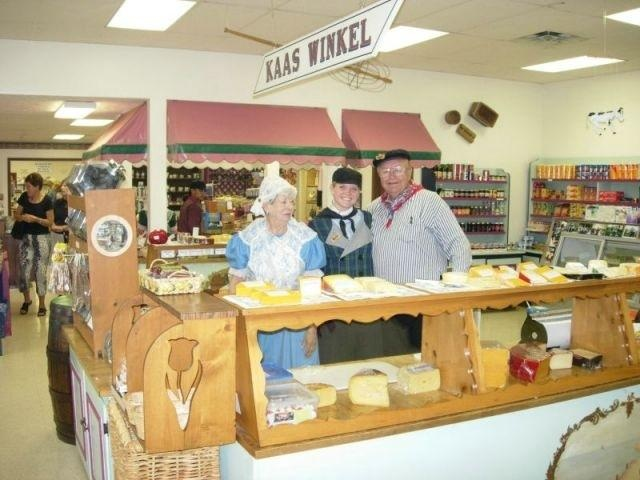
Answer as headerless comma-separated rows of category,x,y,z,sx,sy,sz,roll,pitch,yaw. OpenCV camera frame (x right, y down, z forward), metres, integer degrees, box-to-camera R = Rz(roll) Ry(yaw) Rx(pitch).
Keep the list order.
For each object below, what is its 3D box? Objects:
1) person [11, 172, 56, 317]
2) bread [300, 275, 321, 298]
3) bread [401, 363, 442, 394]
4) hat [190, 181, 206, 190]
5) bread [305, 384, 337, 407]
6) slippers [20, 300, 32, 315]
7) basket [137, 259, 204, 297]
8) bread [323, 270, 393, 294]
person,-4.787,0.095,8.665,0.730,2.430,0.629,5,8,43
bread,-0.044,0.250,2.818,0.103,0.092,0.103,-3,7,-22
bread,0.571,0.774,3.035,0.204,0.127,0.140,-1,1,-22
hat,-2.013,-0.903,8.465,0.195,0.110,0.143,-8,1,40
bread,0.012,0.829,2.808,0.116,0.081,0.117,-2,3,-35
slippers,-5.070,1.146,8.866,0.129,0.146,0.431,0,9,-2
basket,-1.005,0.244,3.467,0.351,0.198,0.547,-1,3,-23
bread,0.217,0.245,2.938,0.402,0.070,0.230,-1,7,0
